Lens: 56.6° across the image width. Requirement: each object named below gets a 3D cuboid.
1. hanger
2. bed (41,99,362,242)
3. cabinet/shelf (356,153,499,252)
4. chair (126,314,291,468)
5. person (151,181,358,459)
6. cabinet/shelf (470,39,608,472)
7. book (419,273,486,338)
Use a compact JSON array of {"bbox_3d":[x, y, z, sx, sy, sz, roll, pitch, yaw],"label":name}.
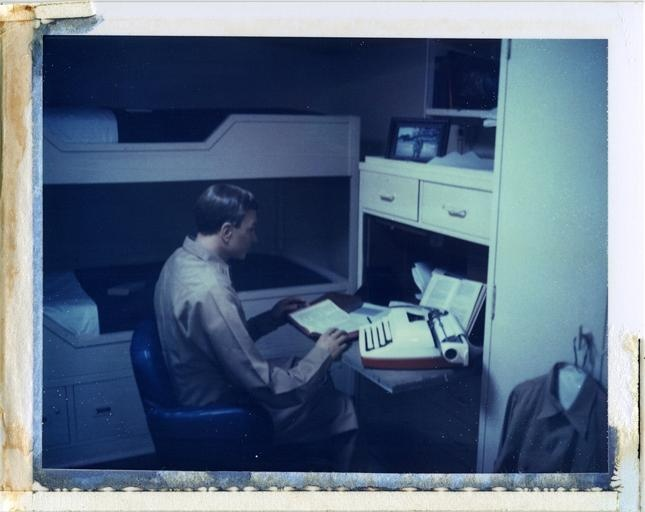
[{"bbox_3d":[0.731,0.324,1.769,0.117,0.204,0.103,7,10,17],"label":"hanger"},{"bbox_3d":[-0.335,-0.282,1.727,0.896,0.267,0.076,-2,10,-4],"label":"bed"},{"bbox_3d":[0.347,-0.189,1.856,0.500,0.216,0.193,16,24,41],"label":"cabinet/shelf"},{"bbox_3d":[-0.371,0.397,1.958,0.445,0.516,0.360,-3,6,-14],"label":"chair"},{"bbox_3d":[-0.160,0.366,1.934,0.632,1.120,0.508,-4,13,-18],"label":"person"},{"bbox_3d":[0.631,0.015,1.722,0.353,1.233,0.114,-1,10,0],"label":"cabinet/shelf"},{"bbox_3d":[0.385,0.149,1.712,0.175,0.178,0.043,18,-10,4],"label":"book"}]
